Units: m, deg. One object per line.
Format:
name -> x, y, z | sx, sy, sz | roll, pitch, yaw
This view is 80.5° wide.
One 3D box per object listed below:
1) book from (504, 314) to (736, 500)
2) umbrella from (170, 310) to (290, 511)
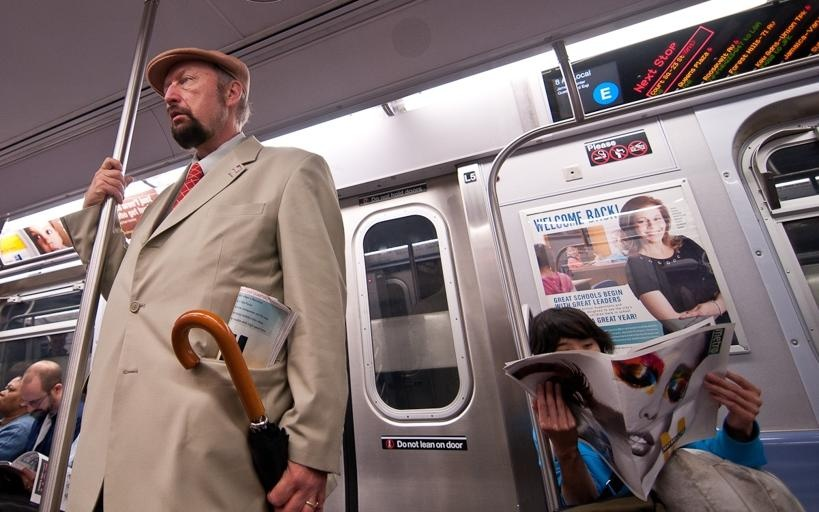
book -> 1.099, 0.777, 2.354 | 1.384, 0.689, 0.802 | 5, -34, -15
umbrella -> -0.726, 0.588, 1.955 | 0.422, 0.750, 0.213 | -3, -15, -23
